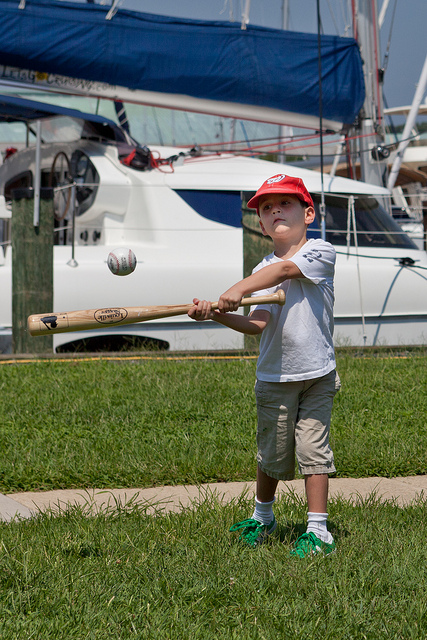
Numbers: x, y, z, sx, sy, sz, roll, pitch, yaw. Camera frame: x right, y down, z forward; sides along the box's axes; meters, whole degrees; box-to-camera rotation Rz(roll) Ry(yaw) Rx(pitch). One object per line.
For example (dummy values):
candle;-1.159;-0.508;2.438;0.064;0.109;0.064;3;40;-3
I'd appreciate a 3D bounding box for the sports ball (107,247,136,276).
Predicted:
sports ball;-0.593;-0.369;5.111;0.180;0.162;0.170;0;-7;0

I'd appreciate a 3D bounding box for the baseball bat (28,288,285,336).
baseball bat;-0.392;0.000;2.906;0.924;0.097;0.102;-6;-18;40

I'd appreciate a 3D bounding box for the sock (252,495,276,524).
sock;0.173;0.673;2.889;0.070;0.105;0.107;1;7;3

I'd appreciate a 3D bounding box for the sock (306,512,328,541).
sock;0.345;0.684;2.683;0.069;0.091;0.093;2;7;7

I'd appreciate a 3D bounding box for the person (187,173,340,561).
person;0.190;0.135;2.798;0.498;1.292;0.665;2;7;5

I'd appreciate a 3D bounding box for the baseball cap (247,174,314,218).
baseball cap;0.273;-0.492;3.056;0.266;0.198;0.399;8;12;-3
